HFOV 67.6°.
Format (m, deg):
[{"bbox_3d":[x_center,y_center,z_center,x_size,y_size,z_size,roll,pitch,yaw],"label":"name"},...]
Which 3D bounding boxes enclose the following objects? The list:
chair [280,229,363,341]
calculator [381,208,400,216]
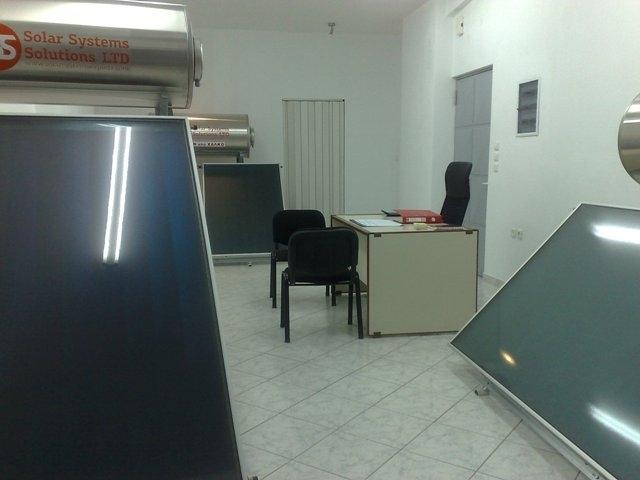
[{"bbox_3d":[0.005,0.310,3.596,0.593,0.819,0.498,0,7,-3],"label":"chair"},{"bbox_3d":[0.649,-0.255,4.525,0.179,0.090,0.247,-1,2,-23],"label":"calculator"}]
